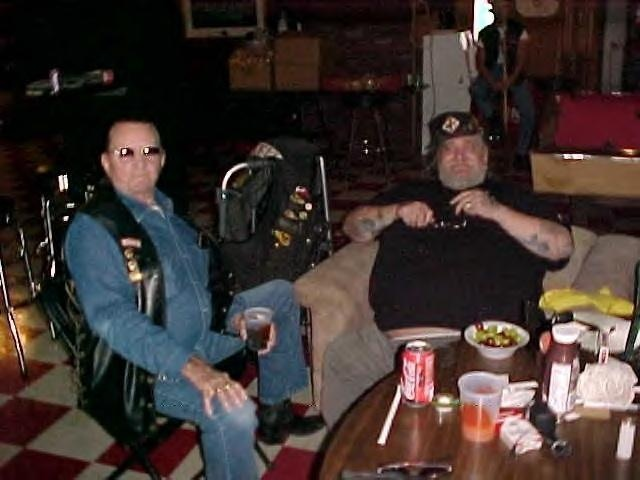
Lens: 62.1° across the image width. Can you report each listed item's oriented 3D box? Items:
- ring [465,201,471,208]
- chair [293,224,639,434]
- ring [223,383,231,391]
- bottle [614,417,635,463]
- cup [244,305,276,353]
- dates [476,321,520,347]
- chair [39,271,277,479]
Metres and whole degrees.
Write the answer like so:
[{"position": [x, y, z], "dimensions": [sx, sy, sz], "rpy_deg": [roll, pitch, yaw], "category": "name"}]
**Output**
[{"position": [0.663, -0.157, 2.385], "dimensions": [0.006, 0.024, 0.022], "rpy_deg": [32, -5, -22], "category": "ring"}, {"position": [0.536, 0.254, 2.696], "dimensions": [1.531, 0.926, 0.877], "rpy_deg": [-11, 12, 4], "category": "chair"}, {"position": [-0.311, 0.491, 1.776], "dimensions": [0.018, 0.004, 0.018], "rpy_deg": [4, 26, -2], "category": "ring"}, {"position": [0.845, 0.548, 1.467], "dimensions": [0.048, 0.113, 0.028], "rpy_deg": [6, -10, 16], "category": "bottle"}, {"position": [-0.246, 0.353, 2.096], "dimensions": [0.156, 0.165, 0.151], "rpy_deg": [2, -18, 1], "category": "cup"}, {"position": [0.616, 0.324, 1.865], "dimensions": [0.089, 0.037, 0.082], "rpy_deg": [3, 17, 40], "category": "dates"}, {"position": [-0.592, 0.521, 2.048], "dimensions": [0.556, 0.761, 0.544], "rpy_deg": [7, 39, 19], "category": "chair"}]
